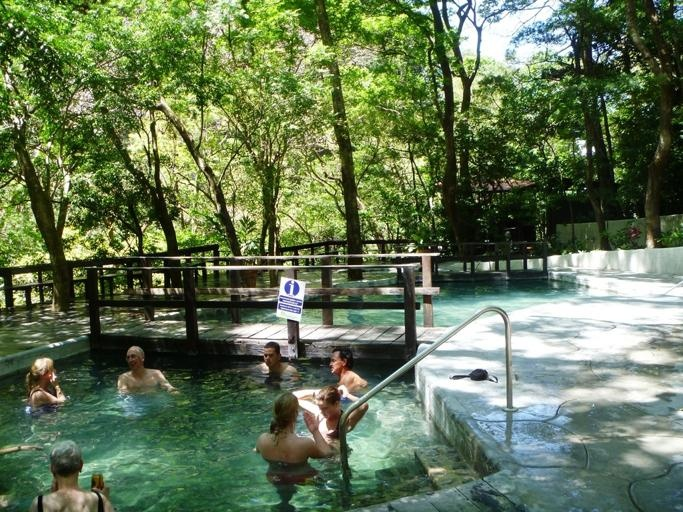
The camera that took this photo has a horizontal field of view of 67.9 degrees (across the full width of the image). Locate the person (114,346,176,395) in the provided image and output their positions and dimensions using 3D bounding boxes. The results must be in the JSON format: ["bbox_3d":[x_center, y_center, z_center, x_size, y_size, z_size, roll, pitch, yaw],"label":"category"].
[{"bbox_3d":[-2.855,1.703,7.291,0.981,0.742,0.540,-4,-17,-16],"label":"person"}]

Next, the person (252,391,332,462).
[{"bbox_3d":[-0.581,1.748,5.115,0.962,0.576,0.480,-3,-9,17],"label":"person"}]
